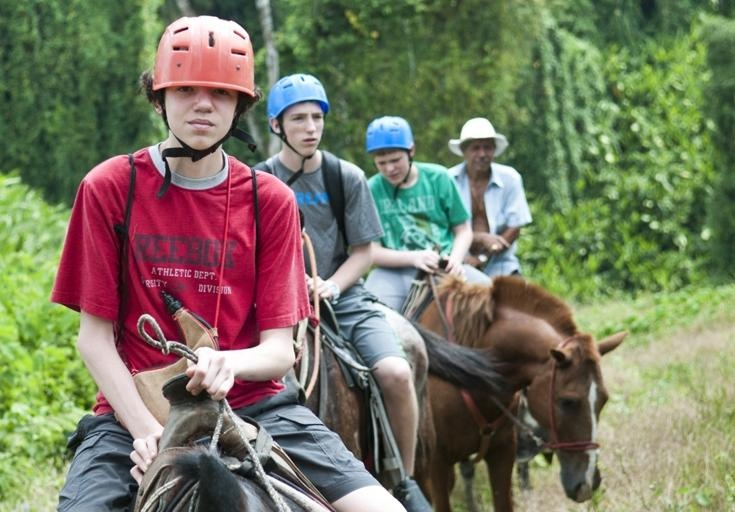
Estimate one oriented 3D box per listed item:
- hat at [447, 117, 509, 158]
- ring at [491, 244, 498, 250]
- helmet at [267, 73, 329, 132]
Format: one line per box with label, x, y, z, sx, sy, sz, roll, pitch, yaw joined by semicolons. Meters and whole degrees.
hat;1.226;-1.290;11.801;0.634;0.358;0.767;-8;-12;3
ring;1.277;-0.087;10.824;0.045;0.054;0.012;7;-13;-8
helmet;-0.679;-1.390;9.350;0.337;0.316;0.487;-5;-32;-18
